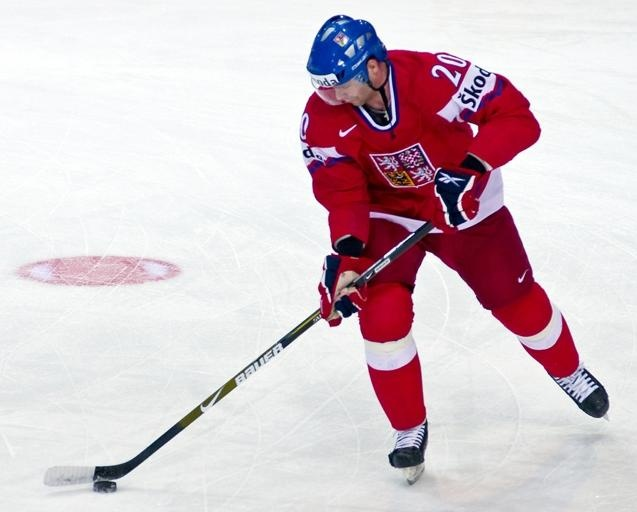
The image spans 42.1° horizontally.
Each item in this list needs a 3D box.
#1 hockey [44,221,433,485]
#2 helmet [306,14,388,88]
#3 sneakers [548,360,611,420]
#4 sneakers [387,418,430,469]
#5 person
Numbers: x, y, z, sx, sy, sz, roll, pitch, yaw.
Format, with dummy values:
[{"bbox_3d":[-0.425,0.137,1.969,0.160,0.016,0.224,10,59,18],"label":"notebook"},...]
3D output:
[{"bbox_3d":[0.080,0.352,3.219,2.167,0.076,0.594,-31,1,-6],"label":"hockey"},{"bbox_3d":[0.097,-0.741,2.985,0.207,0.246,0.254,5,23,35],"label":"helmet"},{"bbox_3d":[1.062,0.545,3.375,0.110,0.326,0.143,-54,-21,12],"label":"sneakers"},{"bbox_3d":[0.340,0.697,3.083,0.094,0.079,0.239,-11,5,15],"label":"sneakers"},{"bbox_3d":[0.436,-0.073,3.131,0.975,1.691,0.629,-14,22,-6],"label":"person"}]
